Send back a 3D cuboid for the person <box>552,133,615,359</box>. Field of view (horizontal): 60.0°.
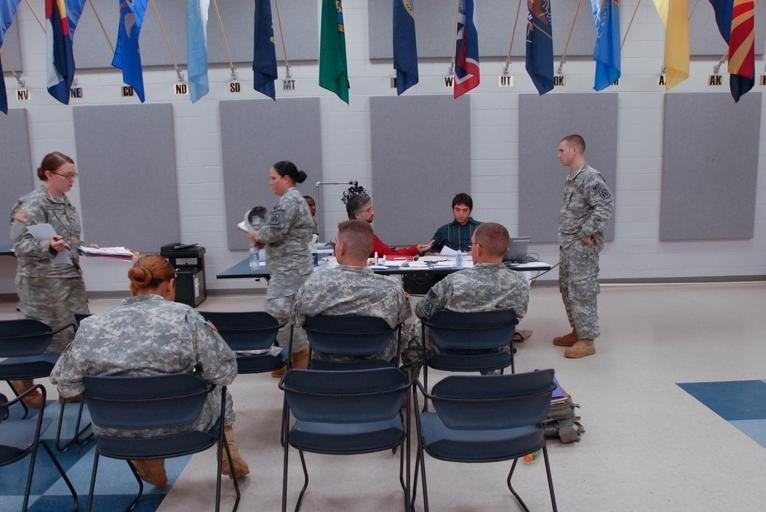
[{"bbox_3d":[2.016,-0.113,6.765,0.505,2.207,0.553,-3,11,0],"label":"person"}]

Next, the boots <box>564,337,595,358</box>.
[{"bbox_3d":[2.014,0.932,6.742,0.335,0.264,0.150,0,1,0],"label":"boots"}]

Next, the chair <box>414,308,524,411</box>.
[{"bbox_3d":[0.730,0.846,5.644,0.788,1.200,0.827,-3,18,-4],"label":"chair"}]

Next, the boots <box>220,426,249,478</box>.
[{"bbox_3d":[-1.166,1.511,5.150,0.136,0.322,0.326,-19,-37,24],"label":"boots"}]

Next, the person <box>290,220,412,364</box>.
[{"bbox_3d":[-0.260,0.264,5.374,0.966,1.219,0.894,-2,26,-18],"label":"person"}]

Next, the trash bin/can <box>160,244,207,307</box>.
[{"bbox_3d":[-2.615,0.249,8.675,0.475,0.795,0.474,2,7,-10],"label":"trash bin/can"}]

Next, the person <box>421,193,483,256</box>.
[{"bbox_3d":[0.867,-0.321,7.464,0.752,0.749,0.425,0,15,-4],"label":"person"}]

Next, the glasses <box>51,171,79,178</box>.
[{"bbox_3d":[-2.796,-0.719,5.858,0.100,0.067,0.214,6,15,39],"label":"glasses"}]

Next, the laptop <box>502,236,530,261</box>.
[{"bbox_3d":[1.385,-0.063,6.898,0.309,0.229,0.225,-2,16,-3],"label":"laptop"}]

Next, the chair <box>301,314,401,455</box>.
[{"bbox_3d":[-0.221,0.776,4.871,0.456,0.748,0.505,0,17,-1],"label":"chair"}]

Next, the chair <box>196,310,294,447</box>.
[{"bbox_3d":[-1.067,0.746,5.330,0.502,0.871,0.607,0,14,-1],"label":"chair"}]
